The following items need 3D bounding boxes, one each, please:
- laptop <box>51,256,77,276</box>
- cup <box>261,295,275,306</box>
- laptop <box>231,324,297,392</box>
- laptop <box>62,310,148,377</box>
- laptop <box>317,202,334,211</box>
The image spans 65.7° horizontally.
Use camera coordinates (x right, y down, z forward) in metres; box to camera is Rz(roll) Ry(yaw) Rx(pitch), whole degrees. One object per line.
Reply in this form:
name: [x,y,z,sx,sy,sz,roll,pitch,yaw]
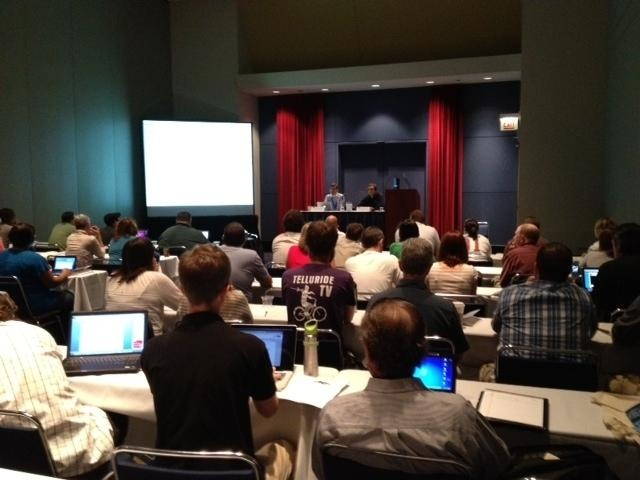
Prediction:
laptop: [-2.897,0.233,5.612,0.279,0.221,0.234,-1,3,-26]
cup: [-0.439,0.541,4.220,0.097,0.082,0.098,2,6,0]
laptop: [-0.285,0.545,2.504,0.327,0.239,0.305,1,1,16]
laptop: [-1.237,0.576,2.860,0.466,0.326,0.388,0,9,-13]
laptop: [0.103,-0.694,10.317,0.146,0.111,0.137,6,50,20]
